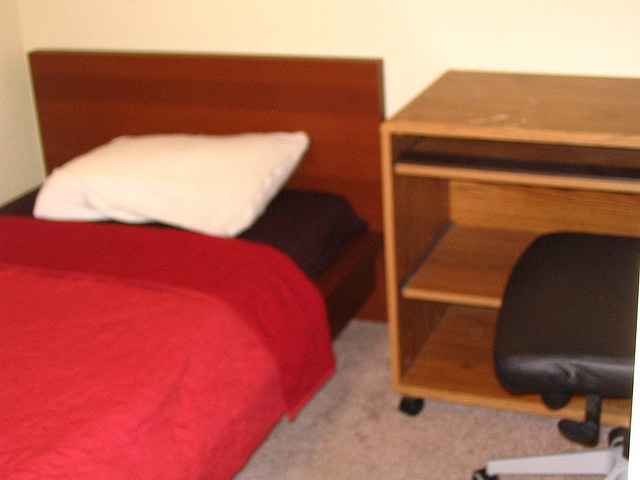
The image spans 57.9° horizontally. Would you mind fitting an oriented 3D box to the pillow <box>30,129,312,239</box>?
[{"bbox_3d":[-0.548,-0.219,2.121,0.582,0.158,0.562,3,31,17],"label":"pillow"}]
